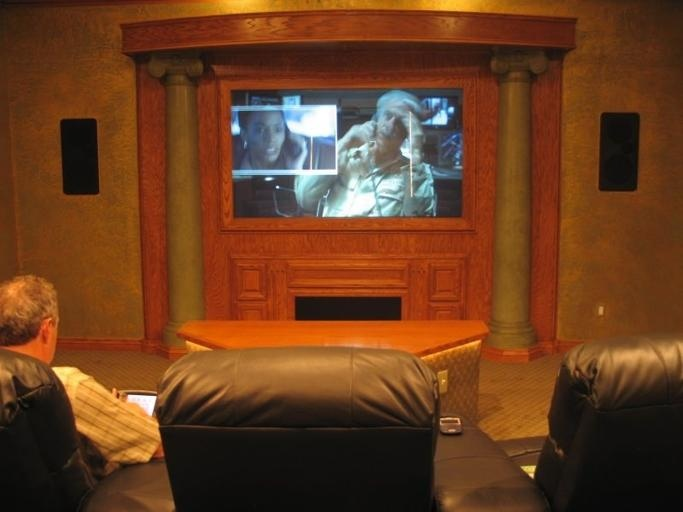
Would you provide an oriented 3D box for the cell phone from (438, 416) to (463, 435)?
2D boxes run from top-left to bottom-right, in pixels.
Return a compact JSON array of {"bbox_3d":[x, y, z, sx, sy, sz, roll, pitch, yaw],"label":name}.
[{"bbox_3d":[0.474,0.727,2.865,0.115,0.070,0.232,-2,-5,4],"label":"cell phone"}]
